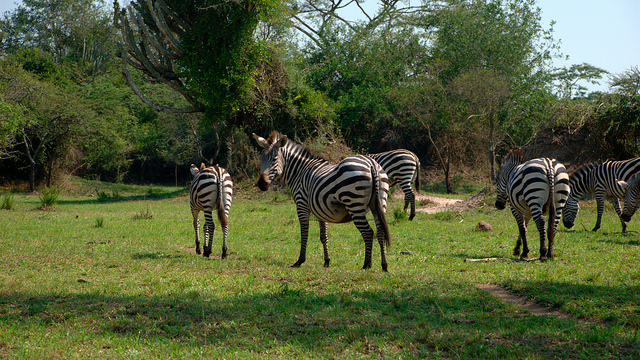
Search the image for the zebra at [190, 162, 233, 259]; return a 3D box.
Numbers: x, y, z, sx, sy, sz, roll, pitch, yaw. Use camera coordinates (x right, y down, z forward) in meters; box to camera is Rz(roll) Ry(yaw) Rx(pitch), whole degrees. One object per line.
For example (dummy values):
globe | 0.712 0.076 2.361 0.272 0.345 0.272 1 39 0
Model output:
zebra | -6.177 1.632 35.244 2.762 5.208 1.380 1 -3 36
